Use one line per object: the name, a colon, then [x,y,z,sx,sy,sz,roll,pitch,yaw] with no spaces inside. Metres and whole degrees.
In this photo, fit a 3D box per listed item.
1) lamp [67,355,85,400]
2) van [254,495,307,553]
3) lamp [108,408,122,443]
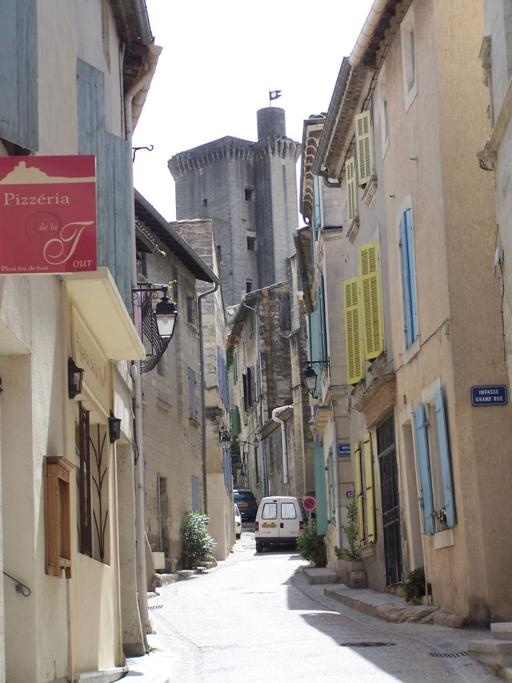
lamp: [-1.302,0.252,7.811,0.104,0.485,0.260,-1,1,0]
van: [0.747,5.545,33.292,0.929,1.343,2.060,-1,-2,5]
lamp: [-1.282,0.746,9.812,0.107,0.325,0.320,-3,-17,-5]
